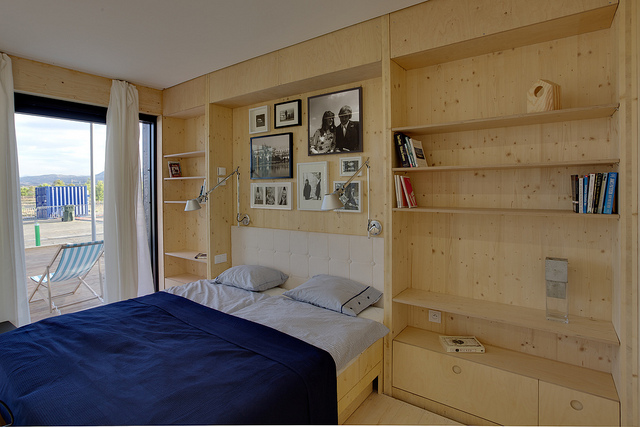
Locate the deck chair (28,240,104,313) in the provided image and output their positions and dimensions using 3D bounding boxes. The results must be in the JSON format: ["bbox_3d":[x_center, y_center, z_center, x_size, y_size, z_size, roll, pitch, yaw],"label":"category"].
[{"bbox_3d":[-3.273,0.775,5.510,0.930,0.890,0.668,4,5,37],"label":"deck chair"}]

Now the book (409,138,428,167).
[{"bbox_3d":[0.919,-0.569,3.961,0.053,0.239,0.231,-7,-2,37],"label":"book"}]

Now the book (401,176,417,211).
[{"bbox_3d":[0.841,-0.189,3.988,0.060,0.273,0.256,-3,1,22],"label":"book"}]

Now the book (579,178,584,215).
[{"bbox_3d":[2.113,-0.146,3.413,0.030,0.277,0.054,1,3,20],"label":"book"}]

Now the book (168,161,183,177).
[{"bbox_3d":[-1.976,-0.601,5.736,0.033,0.264,0.227,-15,-8,35],"label":"book"}]

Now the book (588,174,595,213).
[{"bbox_3d":[2.168,-0.153,3.373,0.037,0.370,0.277,2,4,30],"label":"book"}]

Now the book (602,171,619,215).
[{"bbox_3d":[2.285,-0.151,3.320,0.056,0.257,0.256,2,42,34],"label":"book"}]

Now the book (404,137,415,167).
[{"bbox_3d":[0.841,-0.573,3.930,0.047,0.207,0.196,-6,20,8],"label":"book"}]

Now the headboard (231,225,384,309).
[{"bbox_3d":[-0.252,0.344,4.804,1.773,0.796,0.133,3,0,32],"label":"headboard"}]
